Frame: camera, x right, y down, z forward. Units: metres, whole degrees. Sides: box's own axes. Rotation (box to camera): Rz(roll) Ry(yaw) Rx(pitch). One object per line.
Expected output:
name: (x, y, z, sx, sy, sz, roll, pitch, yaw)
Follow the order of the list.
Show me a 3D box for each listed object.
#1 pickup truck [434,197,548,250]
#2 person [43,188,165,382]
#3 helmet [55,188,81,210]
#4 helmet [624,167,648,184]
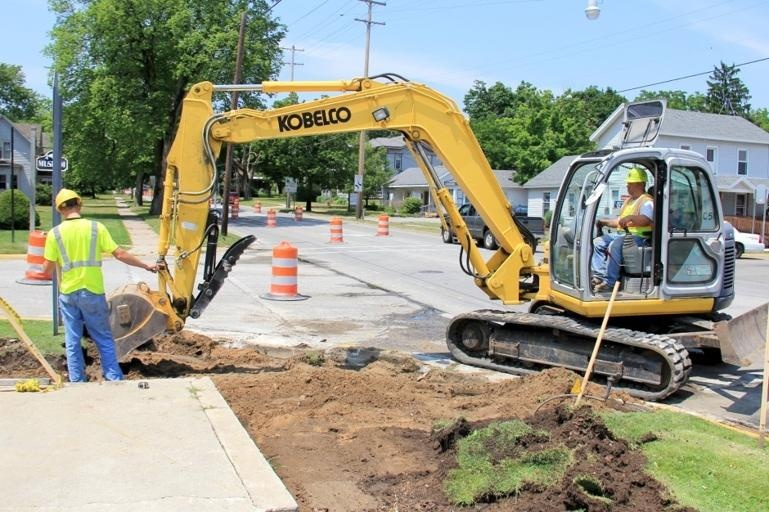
pickup truck: (4.456, -1.178, 29.292, 2.334, 1.554, 4.980, -2, 9, -21)
person: (-3.825, 0.386, 9.717, 1.032, 2.492, 0.945, 1, 5, -22)
helmet: (-4.192, -0.796, 9.899, 0.325, 0.166, 0.348, -17, -2, -22)
helmet: (3.603, -1.161, 10.712, 0.219, 0.152, 0.286, -5, 9, -40)
